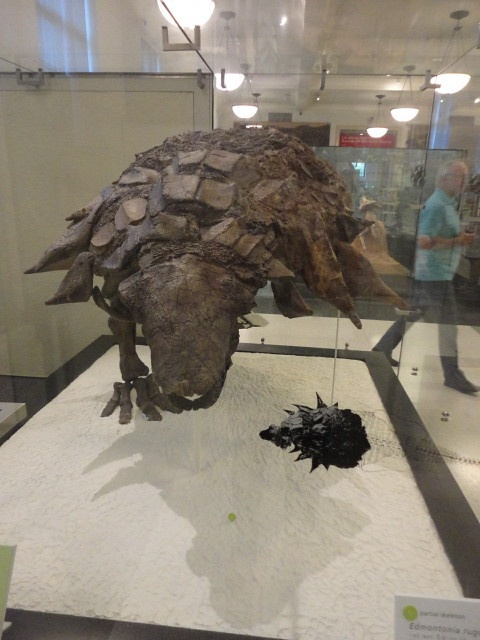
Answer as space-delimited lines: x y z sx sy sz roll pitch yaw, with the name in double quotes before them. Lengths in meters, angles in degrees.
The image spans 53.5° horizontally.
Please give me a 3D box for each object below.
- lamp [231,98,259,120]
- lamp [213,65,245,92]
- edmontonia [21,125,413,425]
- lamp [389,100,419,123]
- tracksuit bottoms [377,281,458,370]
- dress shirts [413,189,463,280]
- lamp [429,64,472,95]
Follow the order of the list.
"lamp" 0.014 -0.793 1.809 0.036 0.057 0.121 -15 25 -36
"lamp" -0.038 -0.884 1.736 0.107 0.039 0.125 3 -6 -10
"edmontonia" -0.156 -0.104 1.695 0.886 1.109 0.944 18 26 37
"lamp" 0.526 -0.664 1.542 0.032 0.052 0.104 -15 26 -37
"tracksuit bottoms" 0.608 -0.042 1.681 0.256 0.428 0.234 8 26 19
"dress shirts" 0.604 -0.265 1.439 0.127 0.254 0.202 -3 31 13
"lamp" 0.608 -0.683 1.367 0.031 0.064 0.121 -4 21 -14
